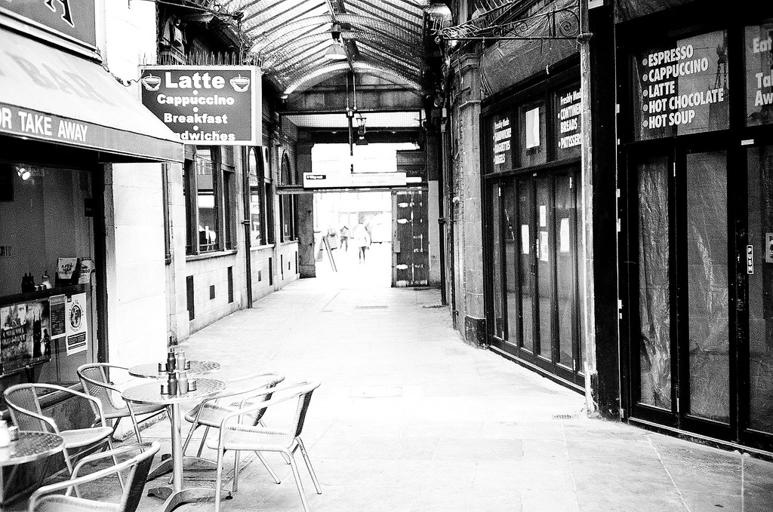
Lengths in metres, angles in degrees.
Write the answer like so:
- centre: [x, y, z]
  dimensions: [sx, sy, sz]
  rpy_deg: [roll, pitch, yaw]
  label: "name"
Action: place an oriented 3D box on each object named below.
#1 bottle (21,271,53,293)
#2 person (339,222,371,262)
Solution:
- centre: [-3.917, 0.285, 9.080]
  dimensions: [0.352, 0.198, 0.311]
  rpy_deg: [-4, 5, -41]
  label: "bottle"
- centre: [-1.473, -0.622, 40.798]
  dimensions: [1.391, 0.844, 3.087]
  rpy_deg: [8, -38, 3]
  label: "person"
